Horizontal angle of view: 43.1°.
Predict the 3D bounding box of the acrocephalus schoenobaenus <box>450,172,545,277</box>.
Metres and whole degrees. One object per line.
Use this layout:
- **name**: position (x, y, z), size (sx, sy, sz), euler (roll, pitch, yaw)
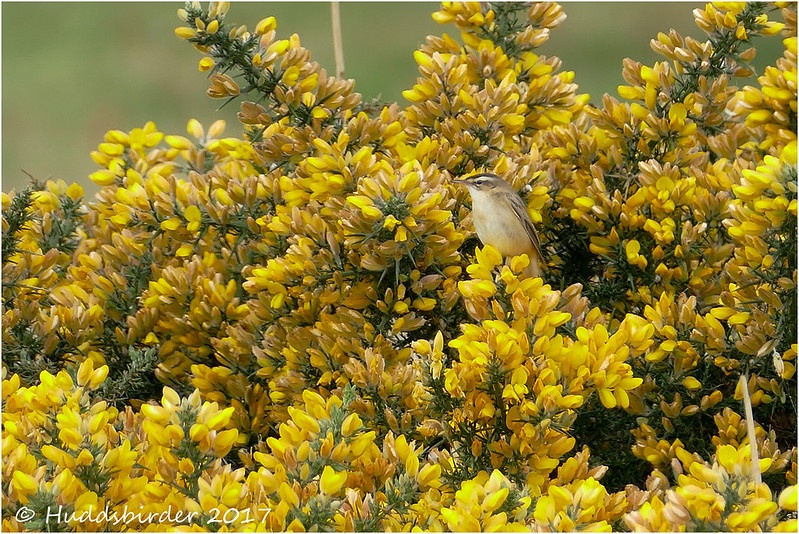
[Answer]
- **acrocephalus schoenobaenus**: position (0.385, -0.139, 3.621), size (0.494, 0.344, 0.209), euler (17, -20, -42)
